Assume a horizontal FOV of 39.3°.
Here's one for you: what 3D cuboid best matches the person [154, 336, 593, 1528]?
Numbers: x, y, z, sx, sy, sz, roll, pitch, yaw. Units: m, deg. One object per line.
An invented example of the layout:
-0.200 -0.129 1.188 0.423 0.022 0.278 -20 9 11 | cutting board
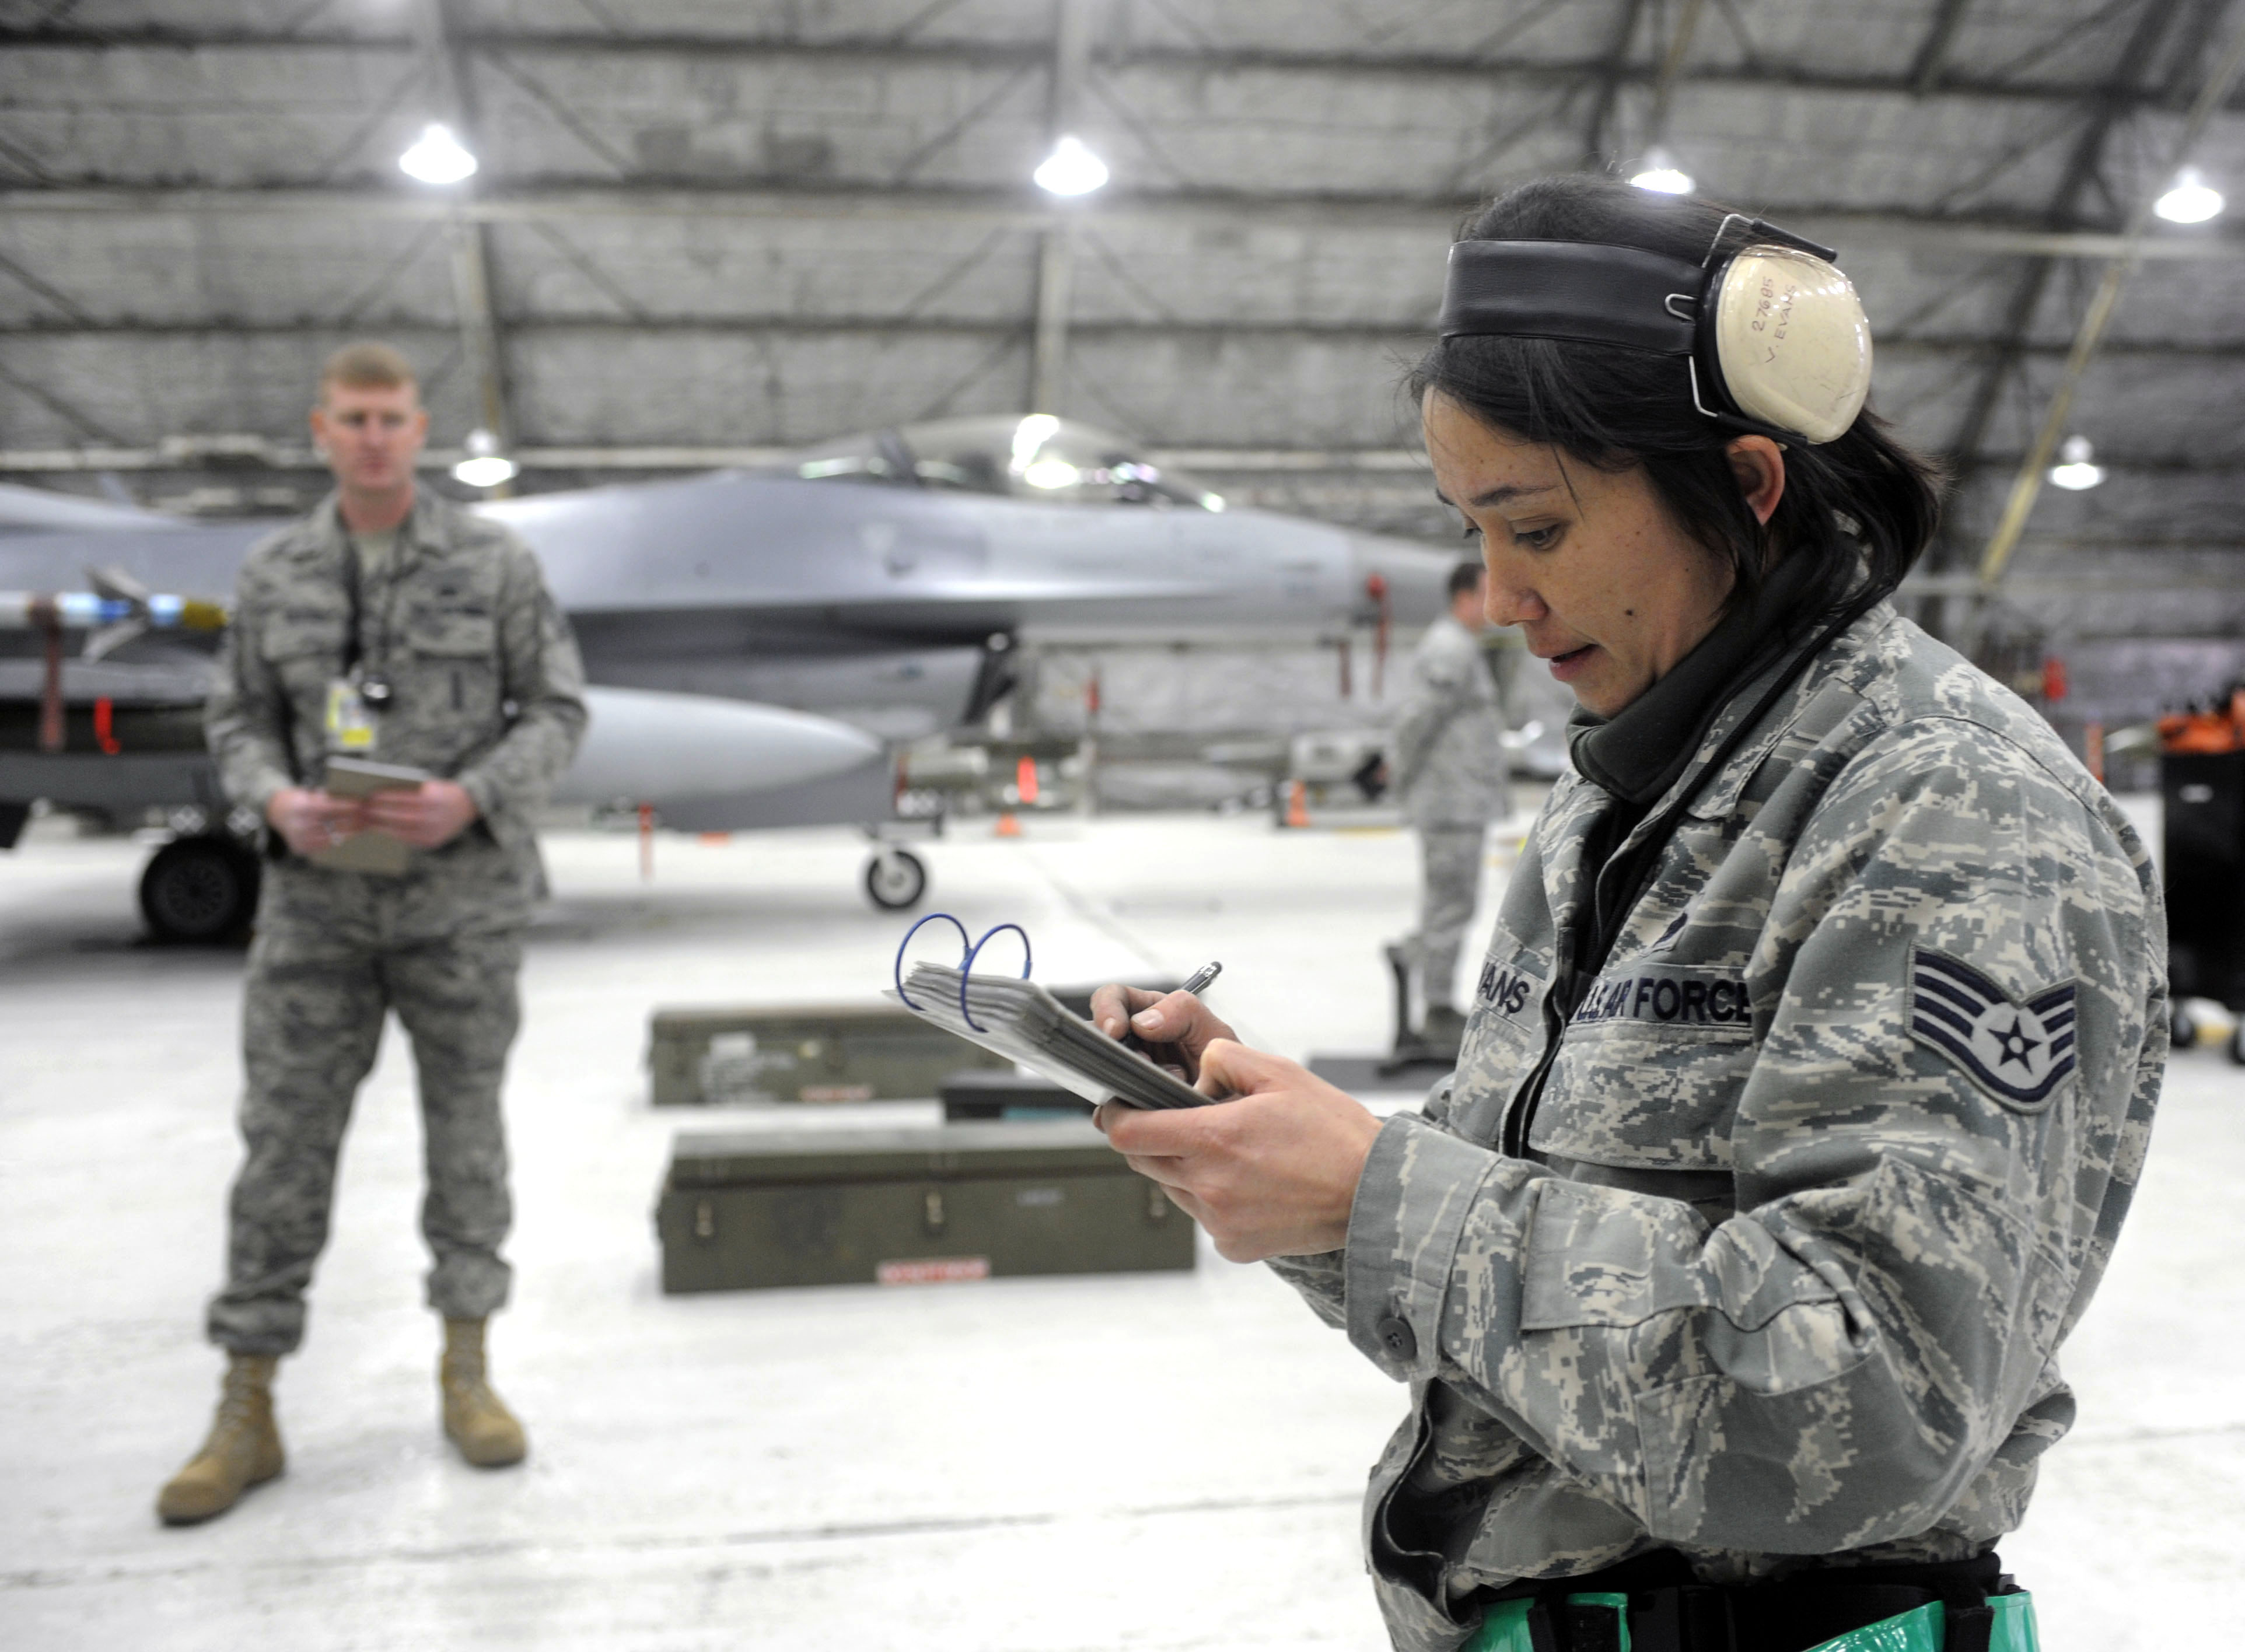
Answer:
-1.444 0.194 6.095 0.827 2.236 0.241 -2 4 -10 | person
